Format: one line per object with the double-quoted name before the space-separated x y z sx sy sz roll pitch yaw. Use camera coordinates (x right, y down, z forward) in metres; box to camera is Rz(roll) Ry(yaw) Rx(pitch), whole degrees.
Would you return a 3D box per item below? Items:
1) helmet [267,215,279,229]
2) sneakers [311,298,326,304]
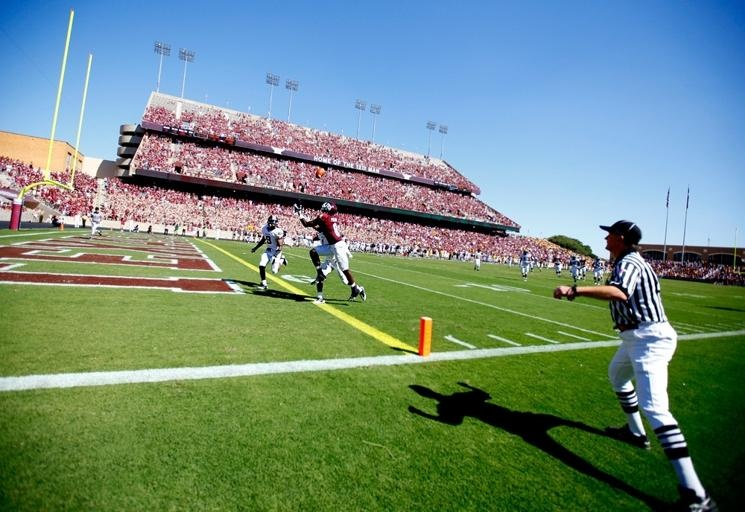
"helmet" -2.820 -0.927 10.538 0.239 0.340 0.404 4 10 -18
"sneakers" -1.290 1.070 8.879 0.121 0.140 0.351 -2 -11 23
